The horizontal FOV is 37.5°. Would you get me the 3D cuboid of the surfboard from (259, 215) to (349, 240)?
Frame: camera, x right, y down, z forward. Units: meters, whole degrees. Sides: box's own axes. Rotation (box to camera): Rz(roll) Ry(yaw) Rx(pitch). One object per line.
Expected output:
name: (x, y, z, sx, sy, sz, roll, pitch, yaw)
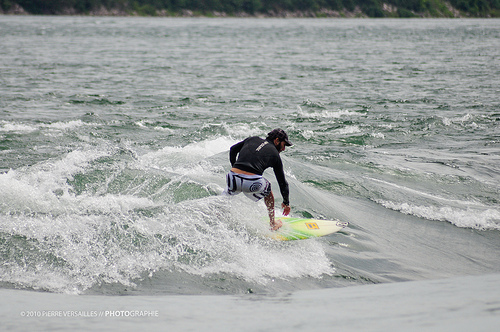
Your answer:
surfboard: (2.248, 2.713, 32.695, 5.177, 0.987, 0.507, -2, -15, 36)
